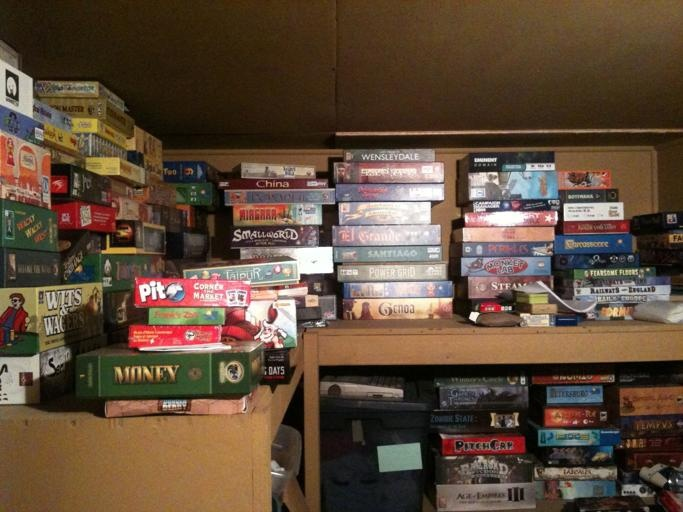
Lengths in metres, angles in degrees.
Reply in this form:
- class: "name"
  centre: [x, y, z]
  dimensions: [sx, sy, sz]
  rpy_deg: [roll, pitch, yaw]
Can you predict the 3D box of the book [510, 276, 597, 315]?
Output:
- class: "book"
  centre: [0.784, 0.152, 2.283]
  dimensions: [0.300, 0.117, 0.132]
  rpy_deg: [0, -1, -12]
